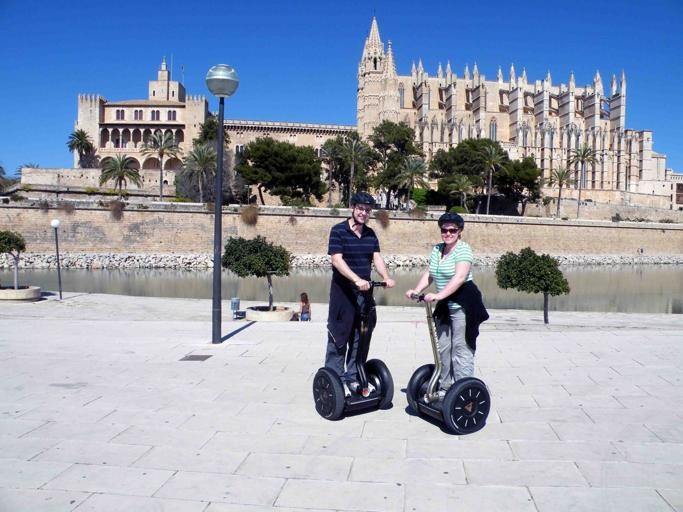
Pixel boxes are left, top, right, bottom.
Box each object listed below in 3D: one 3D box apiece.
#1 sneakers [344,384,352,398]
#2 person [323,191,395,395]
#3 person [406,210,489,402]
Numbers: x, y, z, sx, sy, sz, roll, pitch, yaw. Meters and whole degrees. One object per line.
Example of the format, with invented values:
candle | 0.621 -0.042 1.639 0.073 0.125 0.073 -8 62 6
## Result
sneakers | 0.063 1.497 9.061 0.077 0.145 0.050 -10 0 -13
person | 0.148 0.399 9.199 0.865 2.195 0.830 1 10 -36
person | 1.219 0.552 8.875 0.790 2.222 0.968 5 9 28
